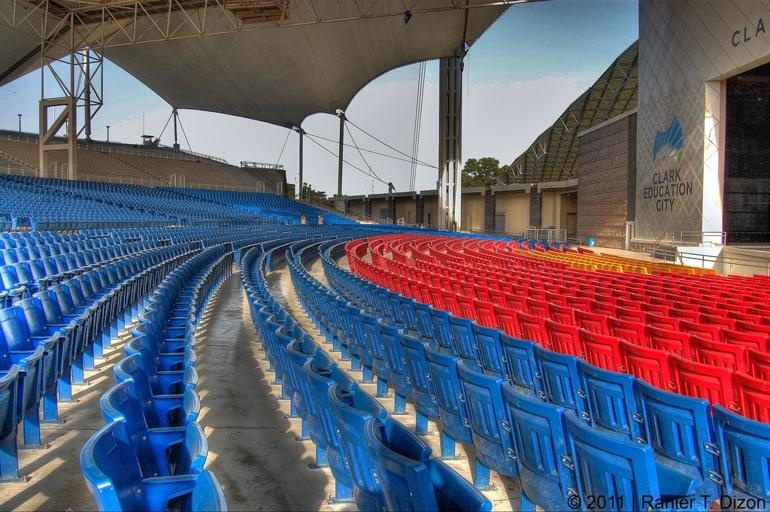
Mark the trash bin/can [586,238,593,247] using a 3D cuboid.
[{"bbox_3d":[11.657,-0.802,30.551,0.350,0.416,0.365,4,7,32],"label":"trash bin/can"}]
